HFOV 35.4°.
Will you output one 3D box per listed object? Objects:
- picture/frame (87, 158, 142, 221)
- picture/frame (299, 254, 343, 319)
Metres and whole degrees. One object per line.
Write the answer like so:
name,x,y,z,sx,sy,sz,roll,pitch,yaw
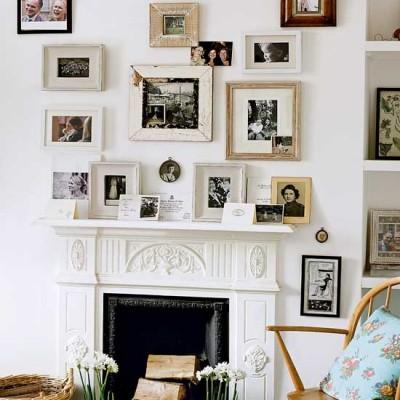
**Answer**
picture/frame,-0.485,-0.060,3.550,0.268,0.376,0.027,-2,34,-11
picture/frame,0.659,0.462,3.416,0.215,0.396,0.016,1,25,11
